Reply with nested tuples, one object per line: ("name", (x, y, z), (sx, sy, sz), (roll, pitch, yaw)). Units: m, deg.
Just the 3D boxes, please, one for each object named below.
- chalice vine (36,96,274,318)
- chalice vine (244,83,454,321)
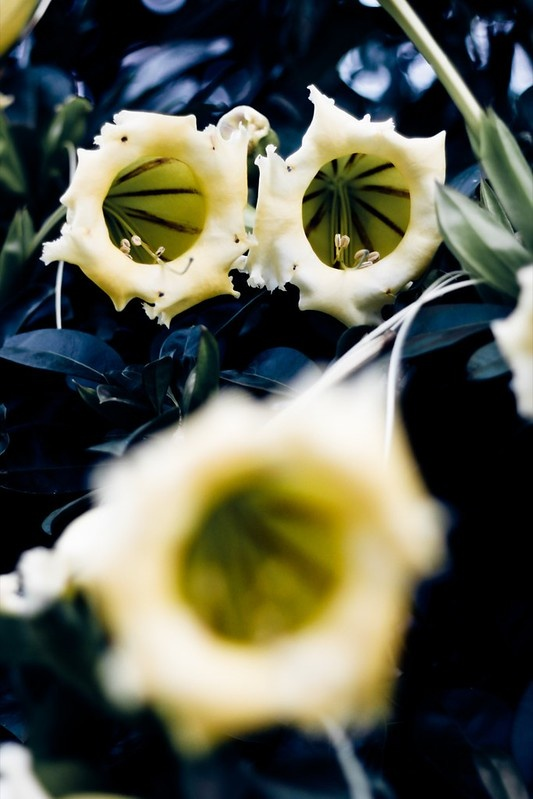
("chalice vine", (-0.092, -0.107, 0.457), (0.134, 0.110, 0.119), (-4, 11, -36))
("chalice vine", (0.043, -0.097, 0.420), (0.099, 0.094, 0.108), (17, 57, 12))
